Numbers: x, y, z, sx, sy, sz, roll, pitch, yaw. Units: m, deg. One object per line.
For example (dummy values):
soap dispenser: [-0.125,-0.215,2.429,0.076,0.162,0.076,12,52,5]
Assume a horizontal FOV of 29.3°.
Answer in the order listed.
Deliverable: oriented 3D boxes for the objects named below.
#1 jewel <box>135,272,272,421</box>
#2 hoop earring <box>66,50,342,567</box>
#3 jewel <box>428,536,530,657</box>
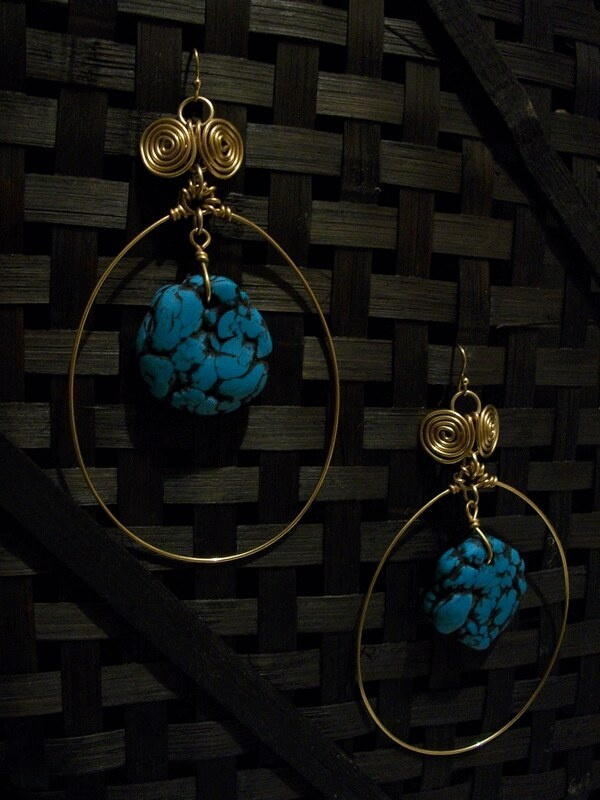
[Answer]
jewel: [-0.081,-0.046,0.967,0.110,0.075,0.091,-17,-43,-3]
hoop earring: [-0.074,-0.073,0.974,0.235,0.282,0.337,2,-47,-21]
jewel: [0.167,0.178,1.048,0.113,0.029,0.112,-14,-75,-28]
